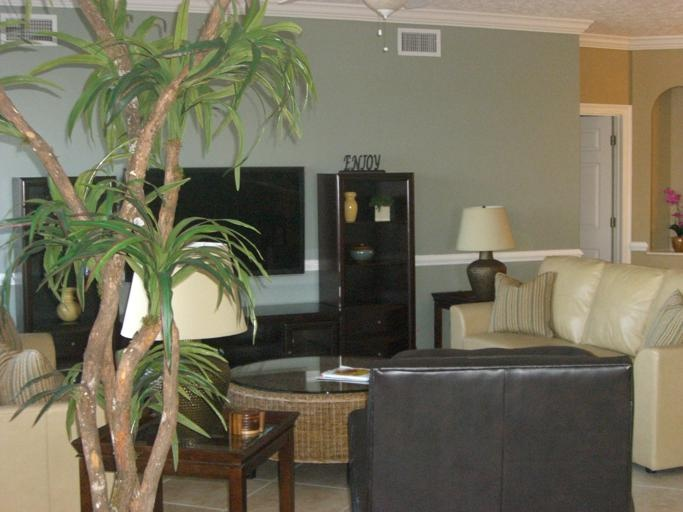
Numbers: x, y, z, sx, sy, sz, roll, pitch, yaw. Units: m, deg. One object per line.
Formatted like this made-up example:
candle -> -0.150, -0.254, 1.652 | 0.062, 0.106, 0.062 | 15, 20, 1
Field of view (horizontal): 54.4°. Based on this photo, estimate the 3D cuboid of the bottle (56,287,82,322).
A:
bottle -> -2.100, 0.383, 5.118 | 0.194, 0.268, 0.194 | -1, 0, 0

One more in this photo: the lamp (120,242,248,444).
lamp -> -0.574, 0.305, 2.432 | 0.429, 0.427, 0.424 | -2, 6, -24

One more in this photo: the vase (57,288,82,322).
vase -> -2.098, 0.380, 5.124 | 0.198, 0.277, 0.198 | -2, 7, -11

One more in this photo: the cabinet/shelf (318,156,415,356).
cabinet/shelf -> 0.288, 0.124, 5.609 | 0.670, 1.605, 0.370 | 1, -13, -1

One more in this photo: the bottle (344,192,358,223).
bottle -> 0.096, -0.416, 5.654 | 0.081, 0.268, 0.223 | 1, 5, 25

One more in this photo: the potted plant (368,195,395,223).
potted plant -> 0.359, -0.404, 5.803 | 0.215, 0.250, 0.245 | 1, 4, 26
